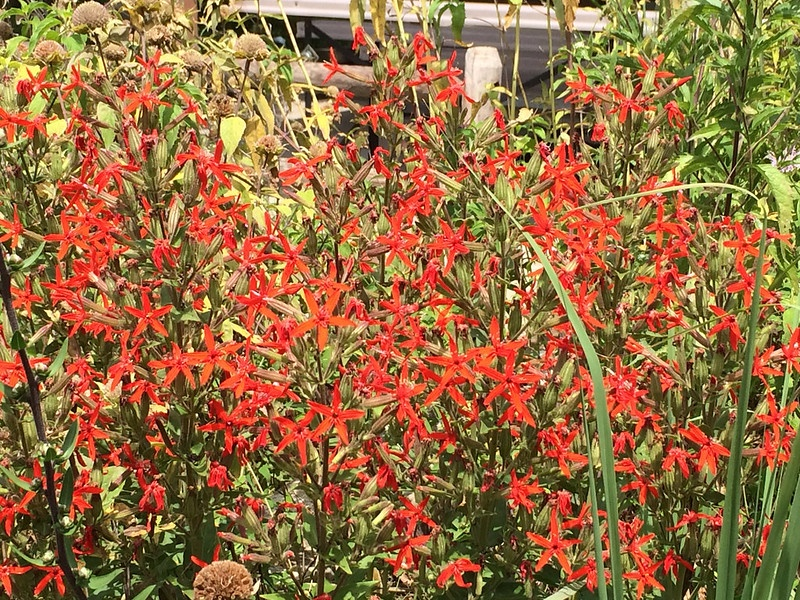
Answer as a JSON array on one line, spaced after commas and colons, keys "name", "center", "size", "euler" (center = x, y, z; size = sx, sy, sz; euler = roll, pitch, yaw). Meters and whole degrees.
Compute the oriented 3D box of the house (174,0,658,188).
[{"name": "house", "center": [0.112, -1.630, 5.853], "size": [2.185, 0.766, 2.205], "euler": [7, 19, 12]}]
